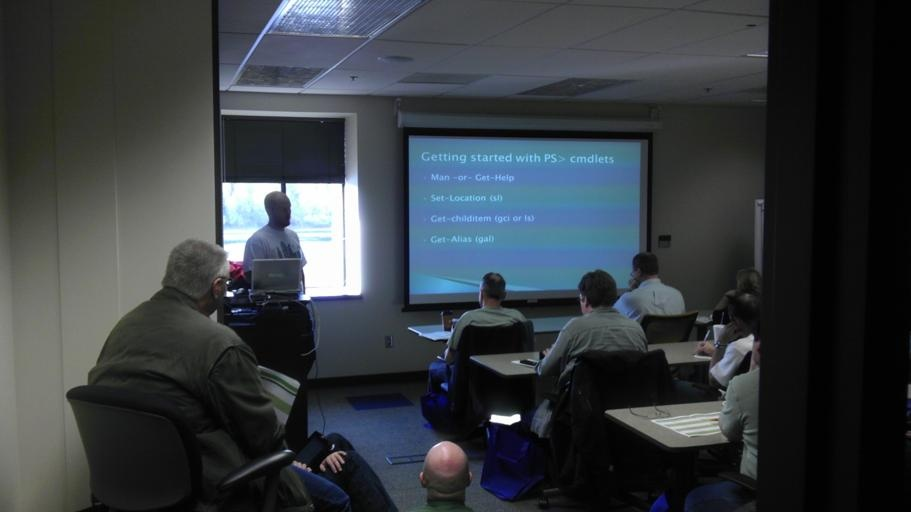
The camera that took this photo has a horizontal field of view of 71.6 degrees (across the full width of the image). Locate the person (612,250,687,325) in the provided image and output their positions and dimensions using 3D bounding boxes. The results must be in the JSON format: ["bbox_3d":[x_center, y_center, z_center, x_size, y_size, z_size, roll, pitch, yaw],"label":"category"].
[{"bbox_3d":[2.024,0.313,6.704,0.832,0.635,0.435,-2,9,-6],"label":"person"}]

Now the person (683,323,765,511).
[{"bbox_3d":[1.338,0.846,3.182,0.354,0.936,1.495,-1,5,24],"label":"person"}]

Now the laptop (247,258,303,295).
[{"bbox_3d":[-1.431,0.131,5.071,0.408,0.250,0.270,1,8,-14],"label":"laptop"}]

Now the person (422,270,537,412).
[{"bbox_3d":[0.335,0.792,5.919,0.950,1.292,0.883,1,8,10],"label":"person"}]
